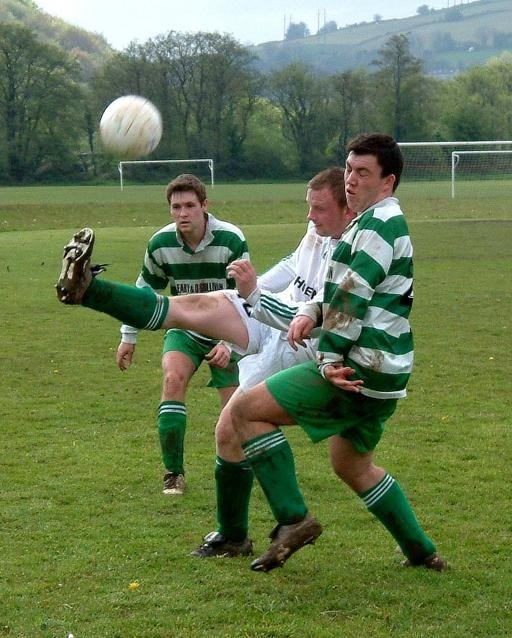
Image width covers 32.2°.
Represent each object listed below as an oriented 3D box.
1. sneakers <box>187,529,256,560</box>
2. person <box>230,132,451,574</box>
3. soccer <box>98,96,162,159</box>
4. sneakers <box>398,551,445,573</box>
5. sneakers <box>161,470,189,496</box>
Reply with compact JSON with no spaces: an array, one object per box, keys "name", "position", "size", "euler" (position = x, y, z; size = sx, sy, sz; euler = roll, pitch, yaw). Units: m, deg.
[{"name":"sneakers","position":[-0.176,1.162,4.524],"size":[0.342,0.108,0.116],"euler":[3,-4,-12]},{"name":"person","position":[0.379,0.200,4.126],"size":[0.953,2.071,0.493],"euler":[-4,14,-16]},{"name":"soccer","position":[-1.021,-1.528,7.055],"size":[0.416,0.500,0.611],"euler":[1,12,7]},{"name":"sneakers","position":[0.809,1.189,4.346],"size":[0.224,0.081,0.069],"euler":[4,5,4]},{"name":"sneakers","position":[-0.500,1.007,5.416],"size":[0.128,0.125,0.331],"euler":[1,-7,-1]}]
